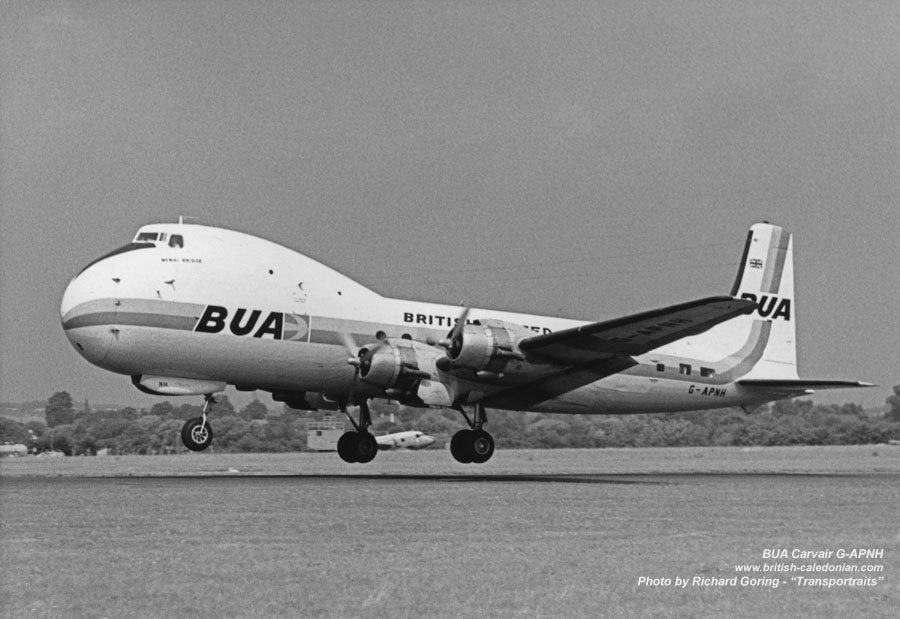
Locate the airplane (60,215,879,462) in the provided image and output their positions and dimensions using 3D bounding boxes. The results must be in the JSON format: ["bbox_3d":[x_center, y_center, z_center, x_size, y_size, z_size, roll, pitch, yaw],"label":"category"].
[{"bbox_3d":[1.595,0.543,33.509,20.757,6.813,12.664,2,-1,-14],"label":"airplane"}]
